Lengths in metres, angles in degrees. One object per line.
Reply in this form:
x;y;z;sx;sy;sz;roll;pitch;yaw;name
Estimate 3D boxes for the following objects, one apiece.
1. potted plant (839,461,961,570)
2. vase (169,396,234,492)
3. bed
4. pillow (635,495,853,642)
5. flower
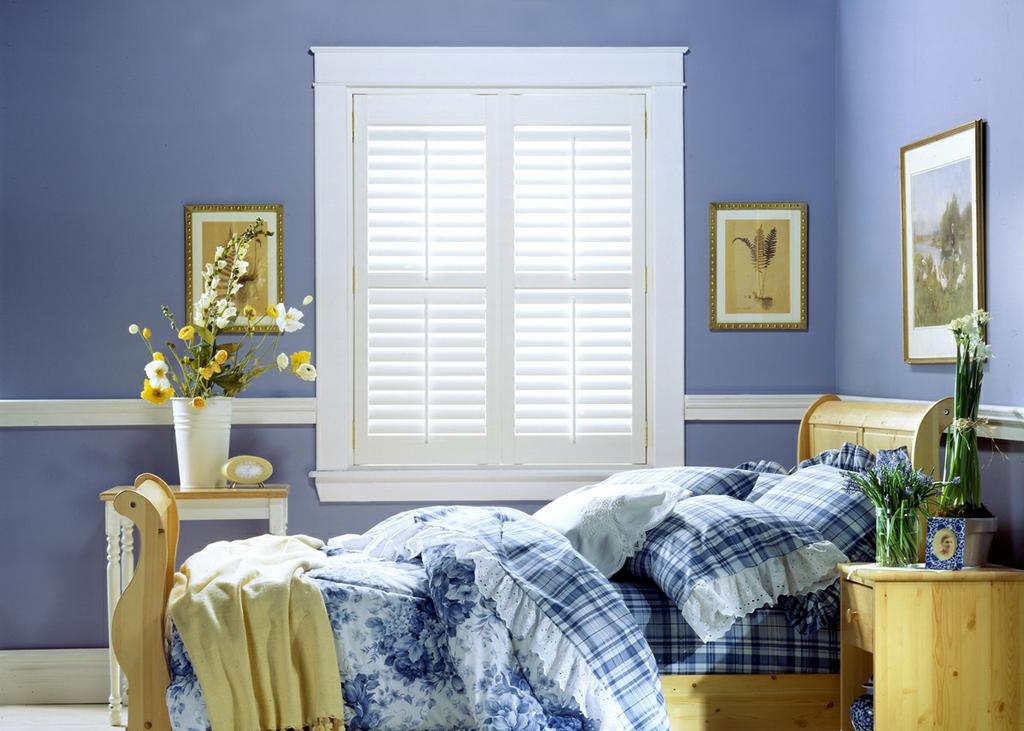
1.486;0.599;4.363;0.247;0.348;0.349;-1;-7;9;potted plant
-1.475;0.370;5.395;0.352;0.513;0.357;0;-5;-1;vase
0.199;0.841;5.252;2.912;1.730;1.812;1;-1;2;bed
0.887;0.799;4.505;0.794;0.482;0.381;0;1;-10;pillow
-1.514;-0.037;5.608;0.570;0.925;0.570;0;-5;36;flower
